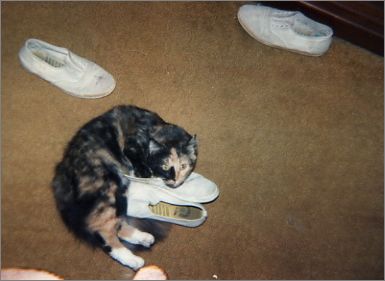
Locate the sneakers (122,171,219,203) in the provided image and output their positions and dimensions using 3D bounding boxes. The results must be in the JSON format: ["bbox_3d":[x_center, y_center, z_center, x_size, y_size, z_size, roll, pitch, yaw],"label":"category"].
[{"bbox_3d":[-0.096,0.242,2.049,0.433,0.167,0.183,5,85,-3],"label":"sneakers"}]

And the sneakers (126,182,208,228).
[{"bbox_3d":[-0.150,0.317,2.033,0.431,0.138,0.174,10,97,-8],"label":"sneakers"}]

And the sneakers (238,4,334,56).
[{"bbox_3d":[0.464,-0.557,2.116,0.499,0.173,0.232,14,97,-2],"label":"sneakers"}]

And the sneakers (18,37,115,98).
[{"bbox_3d":[-0.610,-0.309,2.026,0.482,0.180,0.211,22,82,-14],"label":"sneakers"}]
